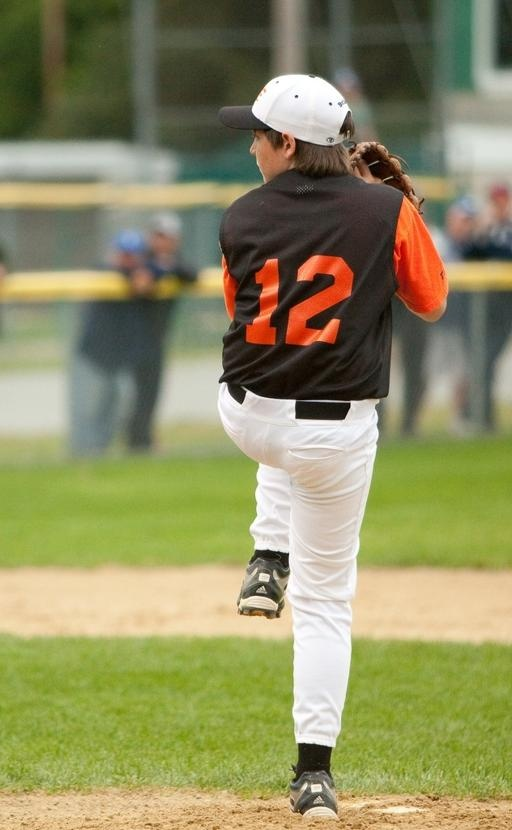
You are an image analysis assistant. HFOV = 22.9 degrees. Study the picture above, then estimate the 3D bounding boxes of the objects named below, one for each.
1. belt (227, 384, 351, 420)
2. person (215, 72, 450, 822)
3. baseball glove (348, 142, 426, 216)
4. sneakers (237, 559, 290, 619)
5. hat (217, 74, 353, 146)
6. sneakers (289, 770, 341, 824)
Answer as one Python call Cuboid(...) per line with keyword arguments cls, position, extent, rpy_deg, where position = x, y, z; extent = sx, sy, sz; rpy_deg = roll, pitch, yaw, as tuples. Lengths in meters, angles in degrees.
Cuboid(cls="belt", position=(0.076, -0.027, 3.033), extent=(0.306, 0.072, 0.061), rpy_deg=(3, 7, 30))
Cuboid(cls="person", position=(0.178, 0.065, 3.198), extent=(0.511, 1.829, 0.493), rpy_deg=(-2, 7, -18))
Cuboid(cls="baseball glove", position=(0.371, -0.644, 3.281), extent=(0.086, 0.173, 0.222), rpy_deg=(-37, 61, -9))
Cuboid(cls="sneakers", position=(0.025, 0.474, 3.414), extent=(0.087, 0.102, 0.224), rpy_deg=(7, 7, 2))
Cuboid(cls="hat", position=(0.088, -0.716, 3.087), extent=(0.280, 0.133, 0.173), rpy_deg=(19, 26, 10))
Cuboid(cls="sneakers", position=(0.154, 0.923, 3.039), extent=(0.064, 0.067, 0.164), rpy_deg=(1, 1, -2))
